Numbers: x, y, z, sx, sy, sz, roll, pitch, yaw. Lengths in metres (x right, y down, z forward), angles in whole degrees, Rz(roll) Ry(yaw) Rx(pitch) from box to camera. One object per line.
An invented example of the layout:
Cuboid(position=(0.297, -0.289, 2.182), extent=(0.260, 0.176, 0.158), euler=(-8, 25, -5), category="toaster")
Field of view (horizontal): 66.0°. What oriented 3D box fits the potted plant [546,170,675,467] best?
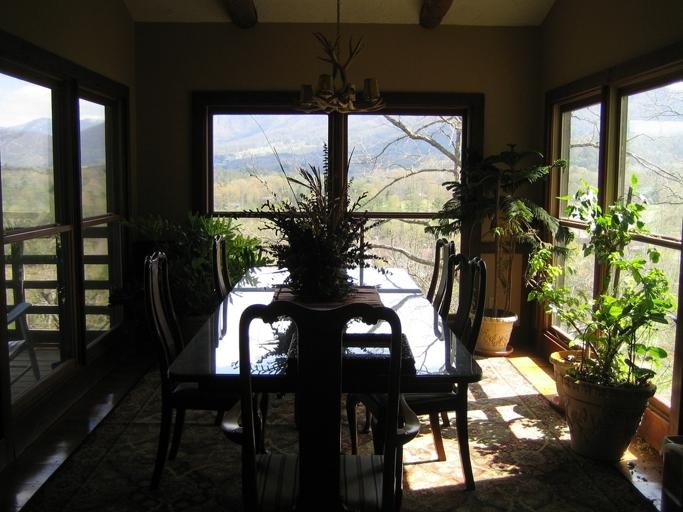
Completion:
Cuboid(position=(1.879, 0.360, 3.718), extent=(0.833, 1.813, 1.215), euler=(0, 6, 21), category="potted plant")
